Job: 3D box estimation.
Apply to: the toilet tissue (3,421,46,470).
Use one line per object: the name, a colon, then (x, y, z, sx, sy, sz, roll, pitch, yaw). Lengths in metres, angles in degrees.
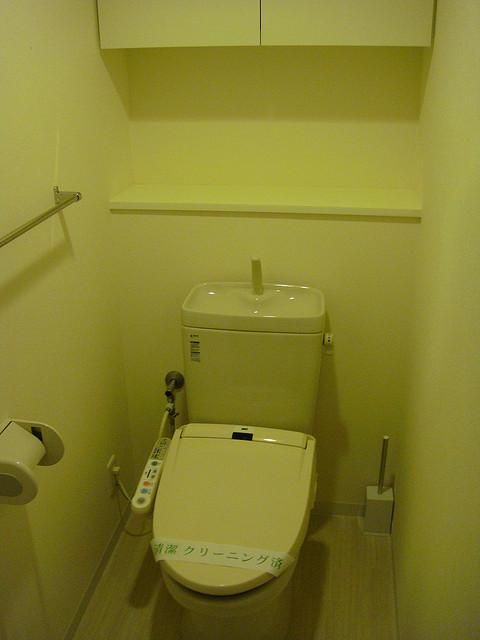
toilet tissue: (-0.340, 0.195, 0.807, 0.076, 0.053, 0.083, 0, 29, -10)

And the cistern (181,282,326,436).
cistern: (0.038, 0.098, 1.365, 0.348, 0.347, 0.223, 0, 23, 5)

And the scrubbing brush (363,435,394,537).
scrubbing brush: (0.406, 0.460, 1.489, 0.079, 0.361, 0.102, 4, 24, 14)

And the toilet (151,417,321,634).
toilet: (-0.011, 0.490, 1.219, 0.363, 0.467, 0.473, 3, 36, 6)
